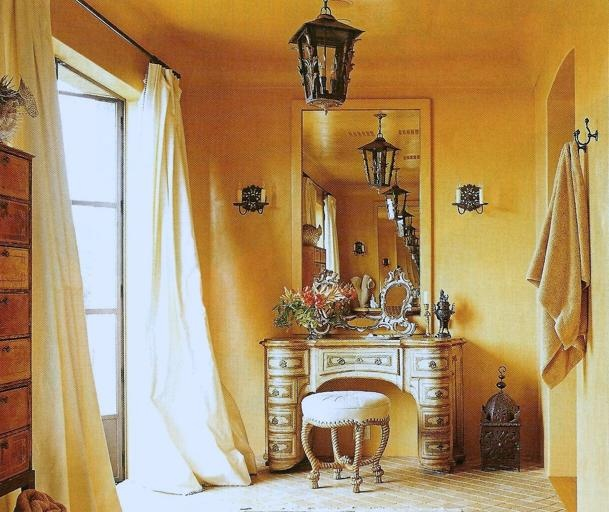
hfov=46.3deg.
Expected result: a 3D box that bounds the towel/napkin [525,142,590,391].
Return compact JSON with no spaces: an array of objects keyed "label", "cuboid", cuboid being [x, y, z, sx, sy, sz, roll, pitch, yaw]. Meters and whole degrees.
[{"label":"towel/napkin","cuboid":[1.222,0.046,3.355,0.227,1.151,0.294,1,6,15]}]

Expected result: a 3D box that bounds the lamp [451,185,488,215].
[{"label":"lamp","cuboid":[1.044,-0.353,4.456,0.216,0.191,0.146,1,6,12]}]

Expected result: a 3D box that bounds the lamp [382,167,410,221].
[{"label":"lamp","cuboid":[0.574,-0.362,4.474,0.209,0.513,0.206,0,1,7]}]

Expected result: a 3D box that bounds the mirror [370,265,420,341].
[{"label":"mirror","cuboid":[0.566,0.291,4.443,0.315,0.466,0.021,-1,24,-2]}]

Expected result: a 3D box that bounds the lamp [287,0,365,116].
[{"label":"lamp","cuboid":[0.091,-0.815,2.973,0.281,0.390,0.131,-1,6,-4]}]

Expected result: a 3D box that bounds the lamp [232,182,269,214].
[{"label":"lamp","cuboid":[-0.324,-0.346,4.506,0.291,0.265,0.158,0,-3,-3]}]

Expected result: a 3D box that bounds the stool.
[{"label":"stool","cuboid":[0.248,1.052,4.105,0.504,0.573,0.515,1,-2,-15]}]

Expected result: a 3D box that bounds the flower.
[{"label":"flower","cuboid":[0.078,0.287,4.412,0.497,0.379,0.253,-6,7,-43]}]

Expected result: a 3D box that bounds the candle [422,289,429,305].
[{"label":"candle","cuboid":[0.765,0.259,4.447,0.049,0.083,0.106,0,5,10]}]

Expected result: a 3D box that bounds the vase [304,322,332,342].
[{"label":"vase","cuboid":[0.090,0.455,4.357,0.106,0.109,0.124,2,3,20]}]

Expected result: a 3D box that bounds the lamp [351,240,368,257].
[{"label":"lamp","cuboid":[0.351,-0.049,4.432,0.086,0.100,0.087,0,0,2]}]

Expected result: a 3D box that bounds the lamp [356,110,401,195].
[{"label":"lamp","cuboid":[0.465,-0.656,4.435,0.199,0.493,0.294,2,6,21]}]
